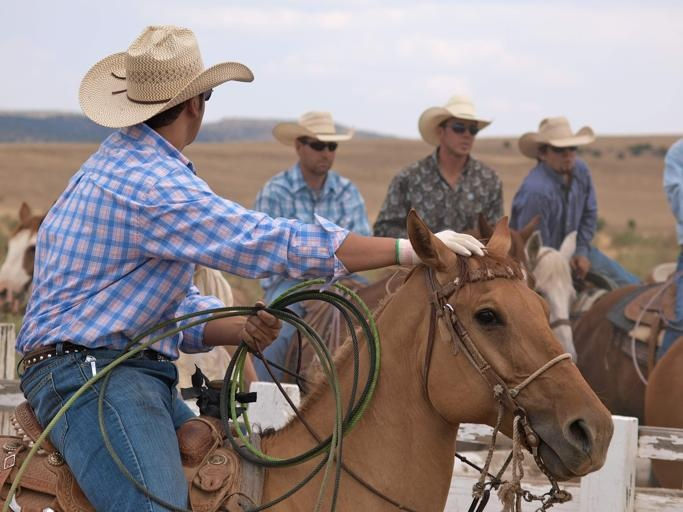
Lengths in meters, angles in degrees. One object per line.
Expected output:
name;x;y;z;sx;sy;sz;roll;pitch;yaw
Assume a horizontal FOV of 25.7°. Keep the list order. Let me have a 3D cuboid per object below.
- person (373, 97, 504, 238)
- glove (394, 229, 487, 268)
person;0.997;-0.728;14.108;1.269;1.768;0.953;-3;13;-13
glove;0.610;-0.068;10.569;0.833;0.247;0.231;0;32;-5
